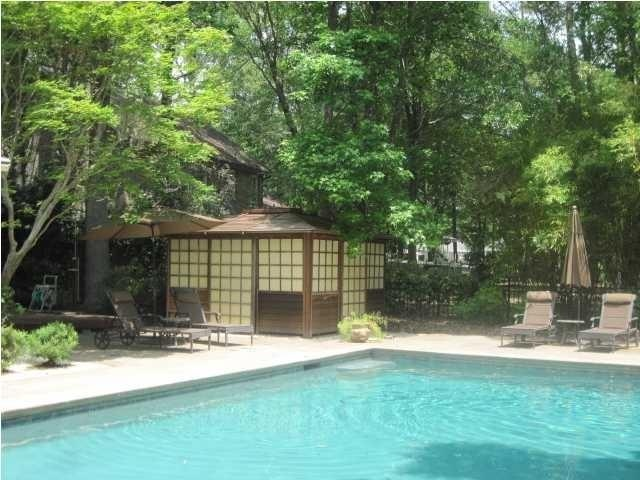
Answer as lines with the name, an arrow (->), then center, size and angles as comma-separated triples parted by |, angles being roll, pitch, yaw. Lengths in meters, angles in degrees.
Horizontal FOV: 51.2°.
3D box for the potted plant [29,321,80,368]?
potted plant -> -5.894, 2.277, 14.765 | 0.928, 1.087, 1.001 | -3, -3, 28
